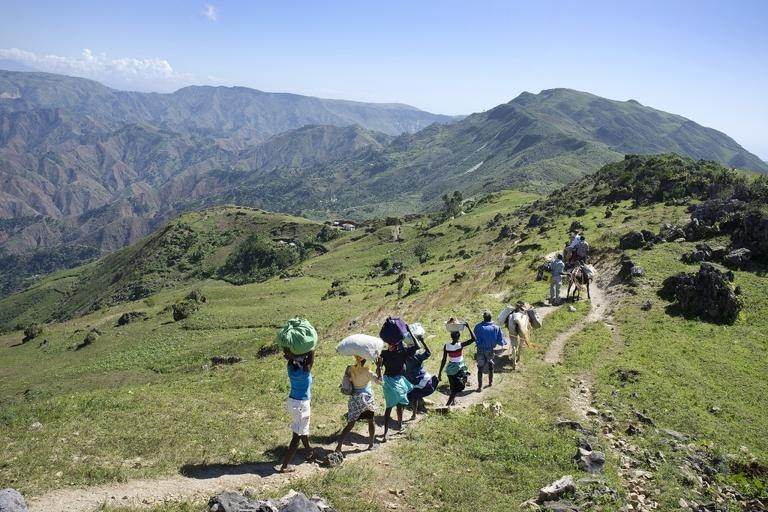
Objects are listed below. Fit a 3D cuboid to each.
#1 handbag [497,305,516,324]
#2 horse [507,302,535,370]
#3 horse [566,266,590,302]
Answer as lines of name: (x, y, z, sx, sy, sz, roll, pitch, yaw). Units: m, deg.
handbag: (9.448, 4.512, 39.663, 0.479, 1.263, 1.072, 35, 6, -14)
horse: (10.011, 5.743, 38.390, 1.658, 4.296, 3.365, 12, 17, 17)
horse: (18.058, 2.429, 47.348, 2.077, 3.050, 3.240, 15, 18, 28)
